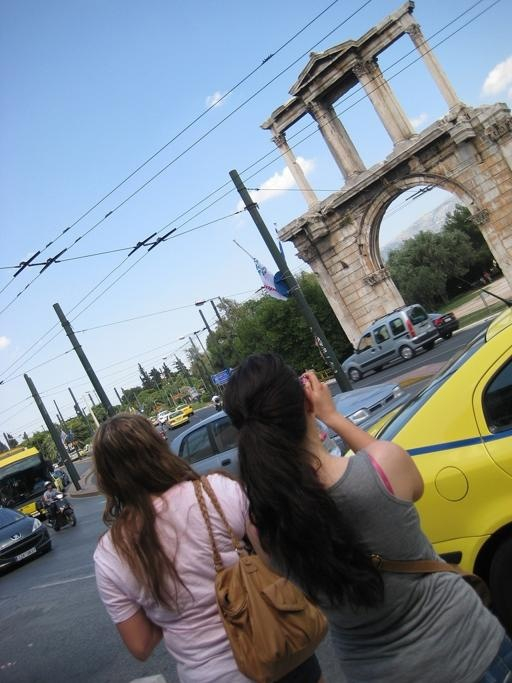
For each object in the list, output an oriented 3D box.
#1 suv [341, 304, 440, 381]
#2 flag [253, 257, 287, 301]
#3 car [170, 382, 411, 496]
[{"bbox_3d":[6.121,0.183,23.458,2.290,2.273,4.598,-19,-8,-42],"label":"suv"},{"bbox_3d":[0.463,-1.723,13.183,0.771,2.085,0.258,3,-54,-16],"label":"flag"},{"bbox_3d":[0.294,1.365,7.506,3.843,1.298,1.737,-8,-2,26],"label":"car"}]
